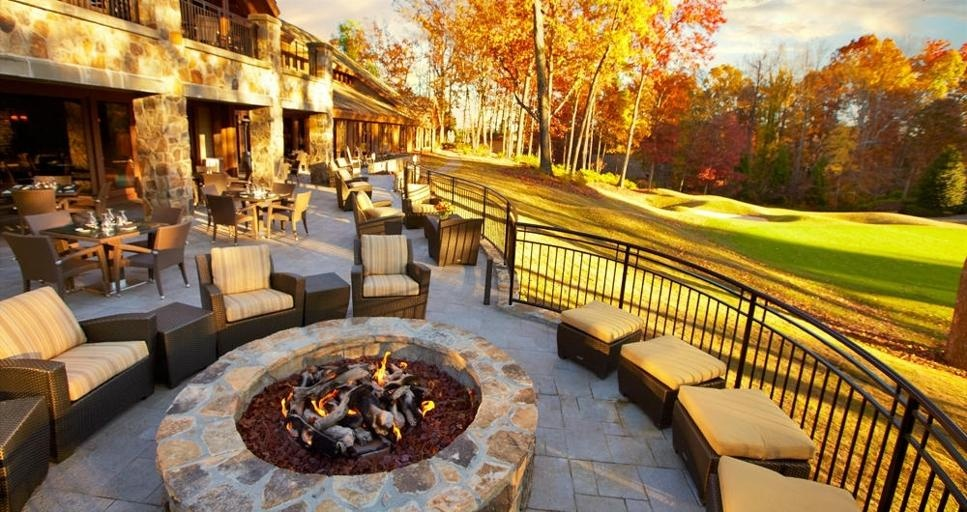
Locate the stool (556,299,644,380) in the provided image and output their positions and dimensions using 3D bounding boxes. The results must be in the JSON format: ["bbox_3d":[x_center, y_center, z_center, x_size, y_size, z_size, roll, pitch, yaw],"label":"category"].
[{"bbox_3d":[3.194,1.931,12.317,1.914,1.340,1.893,-12,21,-43],"label":"stool"}]

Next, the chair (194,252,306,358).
[{"bbox_3d":[-6.144,0.937,12.422,2.111,2.022,2.290,-14,24,-42],"label":"chair"}]

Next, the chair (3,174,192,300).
[{"bbox_3d":[-11.030,-0.086,13.637,3.657,2.308,2.128,-1,16,-22],"label":"chair"}]

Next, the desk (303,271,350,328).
[{"bbox_3d":[-4.285,1.134,12.792,1.391,1.208,1.199,6,27,-8],"label":"desk"}]

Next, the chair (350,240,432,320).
[{"bbox_3d":[-2.803,0.596,13.530,2.104,2.074,2.241,-2,16,-18],"label":"chair"}]
